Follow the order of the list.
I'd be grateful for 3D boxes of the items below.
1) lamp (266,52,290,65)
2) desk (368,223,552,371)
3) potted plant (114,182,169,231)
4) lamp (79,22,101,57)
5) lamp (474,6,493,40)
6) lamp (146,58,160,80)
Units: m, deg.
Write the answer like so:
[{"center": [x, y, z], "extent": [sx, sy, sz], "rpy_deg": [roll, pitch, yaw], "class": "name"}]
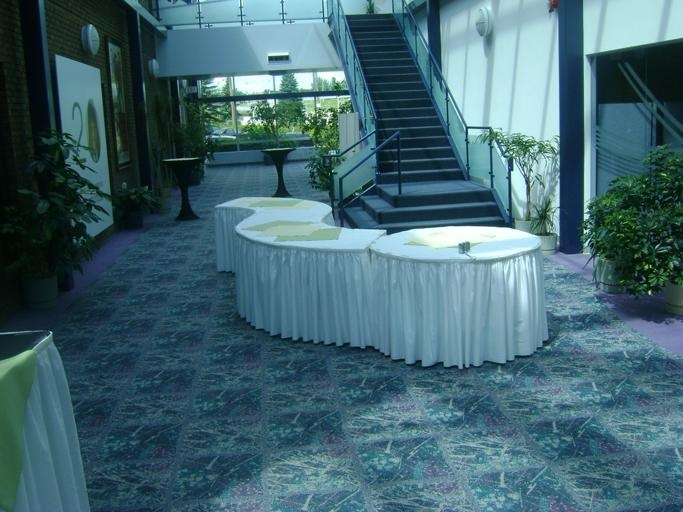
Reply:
[{"center": [-1.775, -5.633, 14.589], "extent": [0.632, 0.312, 0.219], "rpy_deg": [-6, 17, -5], "class": "lamp"}, {"center": [0.899, 0.292, 4.157], "extent": [1.098, 0.760, 1.142], "rpy_deg": [5, 16, 32], "class": "desk"}, {"center": [-4.015, -0.942, 9.735], "extent": [0.913, 0.703, 0.939], "rpy_deg": [8, 13, 37], "class": "potted plant"}, {"center": [-4.126, -3.605, 8.469], "extent": [0.199, 0.519, 0.597], "rpy_deg": [-6, 17, -7], "class": "lamp"}, {"center": [2.401, -3.960, 8.656], "extent": [0.214, 0.516, 0.458], "rpy_deg": [-3, 17, 5], "class": "lamp"}, {"center": [-4.809, -4.833, 13.170], "extent": [0.224, 0.458, 0.505], "rpy_deg": [-8, 18, -12], "class": "lamp"}]
